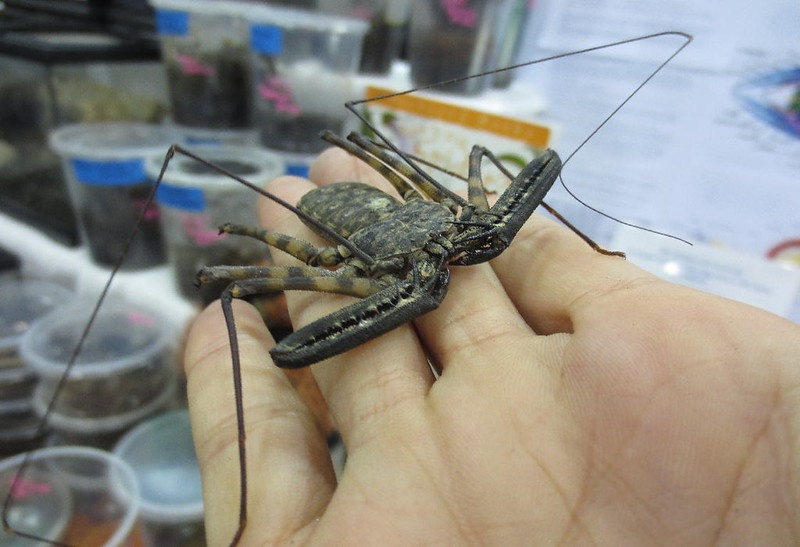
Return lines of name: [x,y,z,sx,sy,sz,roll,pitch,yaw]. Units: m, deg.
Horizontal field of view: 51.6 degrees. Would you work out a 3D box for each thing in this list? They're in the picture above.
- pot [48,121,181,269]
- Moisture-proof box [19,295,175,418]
pot: [-1.586,-0.400,4.786,0.781,0.692,0.762,1,15,0]
Moisture-proof box: [-1.629,0.445,4.509,0.790,0.267,0.785,9,24,4]
